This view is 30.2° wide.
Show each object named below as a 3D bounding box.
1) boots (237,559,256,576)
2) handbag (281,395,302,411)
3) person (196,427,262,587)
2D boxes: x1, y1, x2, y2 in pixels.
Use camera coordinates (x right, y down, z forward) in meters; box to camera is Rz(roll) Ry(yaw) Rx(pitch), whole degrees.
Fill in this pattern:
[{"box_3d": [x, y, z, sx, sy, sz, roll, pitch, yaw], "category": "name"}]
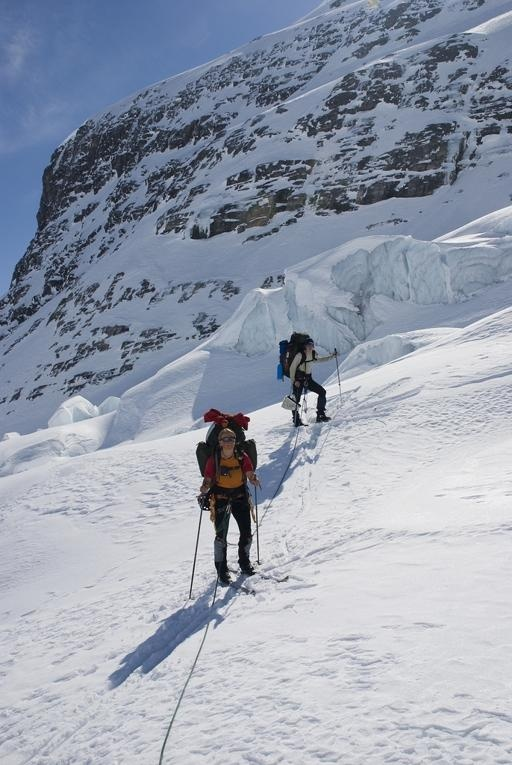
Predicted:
[{"box_3d": [-0.139, 2.827, 14.371, 0.181, 0.089, 0.230, -3, 43, -28], "category": "boots"}, {"box_3d": [0.808, 0.448, 20.624, 0.357, 0.337, 0.128, -9, 24, 31], "category": "handbag"}, {"box_3d": [-0.360, 1.822, 14.269, 1.006, 2.201, 0.462, -23, 16, -26], "category": "person"}]
